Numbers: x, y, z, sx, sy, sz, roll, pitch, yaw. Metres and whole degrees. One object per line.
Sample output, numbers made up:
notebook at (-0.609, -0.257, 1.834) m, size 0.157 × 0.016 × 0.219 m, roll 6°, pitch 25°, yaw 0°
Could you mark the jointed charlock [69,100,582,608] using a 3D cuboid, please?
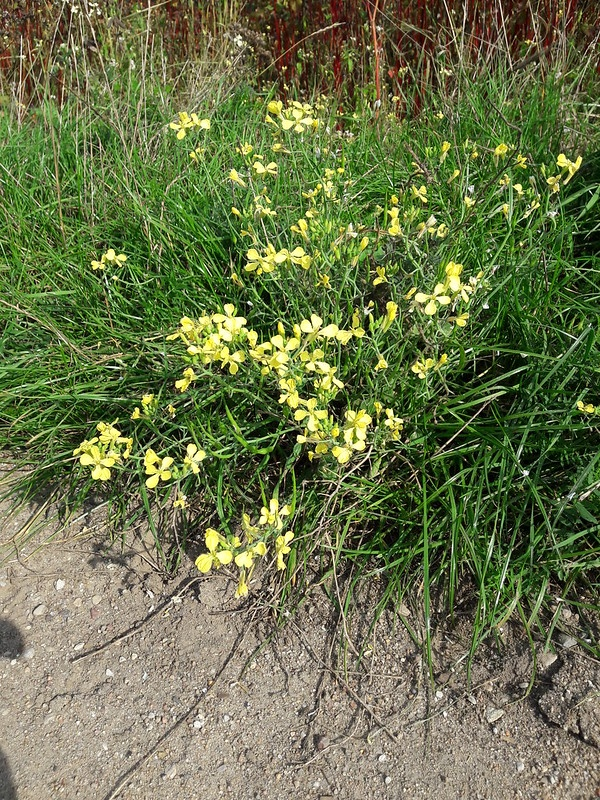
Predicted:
jointed charlock at (0.149, 0.057, 2.234) m, size 1.607 × 1.004 × 1.788 m, roll 7°, pitch 66°, yaw 0°
